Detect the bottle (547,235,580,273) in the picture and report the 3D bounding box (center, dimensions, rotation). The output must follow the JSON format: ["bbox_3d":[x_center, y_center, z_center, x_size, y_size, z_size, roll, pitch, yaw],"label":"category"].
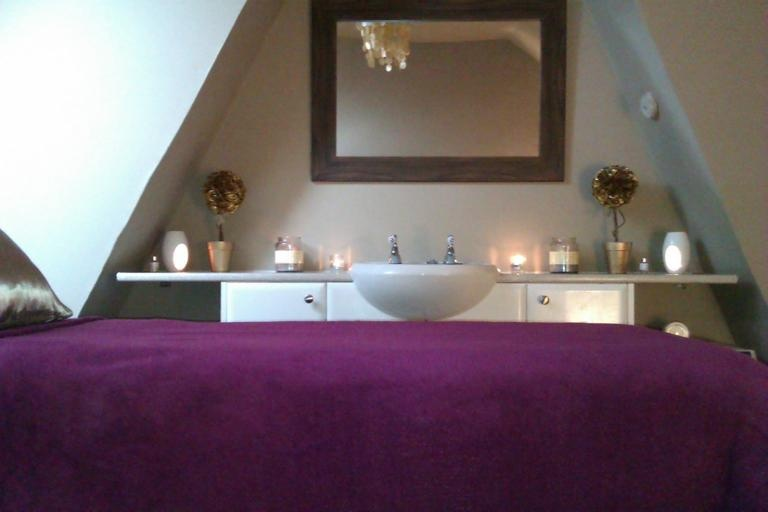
[{"bbox_3d":[0.873,0.000,3.054,0.147,0.171,0.155,0,3,13],"label":"bottle"}]

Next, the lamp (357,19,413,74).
[{"bbox_3d":[0.003,-1.079,3.206,0.199,0.283,0.100,0,4,8],"label":"lamp"}]

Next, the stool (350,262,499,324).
[{"bbox_3d":[0.147,0.135,2.360,0.546,0.208,0.153,0,-3,12],"label":"stool"}]

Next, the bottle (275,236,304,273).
[{"bbox_3d":[-0.467,-0.007,3.028,0.133,0.170,0.124,0,-3,0],"label":"bottle"}]

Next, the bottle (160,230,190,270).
[{"bbox_3d":[-1.011,-0.025,3.151,0.161,0.237,0.167,-2,1,0],"label":"bottle"}]

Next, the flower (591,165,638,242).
[{"bbox_3d":[1.149,-0.254,3.130,0.225,0.368,0.241,-1,-3,22],"label":"flower"}]

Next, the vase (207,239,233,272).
[{"bbox_3d":[-0.796,0.003,3.043,0.129,0.148,0.133,1,1,-4],"label":"vase"}]

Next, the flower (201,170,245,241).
[{"bbox_3d":[-0.805,-0.254,3.181,0.212,0.361,0.227,1,-3,-14],"label":"flower"}]

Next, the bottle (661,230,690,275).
[{"bbox_3d":[1.381,-0.018,2.978,0.103,0.204,0.135,0,-3,13],"label":"bottle"}]

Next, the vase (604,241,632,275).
[{"bbox_3d":[1.132,0.014,3.040,0.131,0.152,0.139,0,-4,19],"label":"vase"}]
